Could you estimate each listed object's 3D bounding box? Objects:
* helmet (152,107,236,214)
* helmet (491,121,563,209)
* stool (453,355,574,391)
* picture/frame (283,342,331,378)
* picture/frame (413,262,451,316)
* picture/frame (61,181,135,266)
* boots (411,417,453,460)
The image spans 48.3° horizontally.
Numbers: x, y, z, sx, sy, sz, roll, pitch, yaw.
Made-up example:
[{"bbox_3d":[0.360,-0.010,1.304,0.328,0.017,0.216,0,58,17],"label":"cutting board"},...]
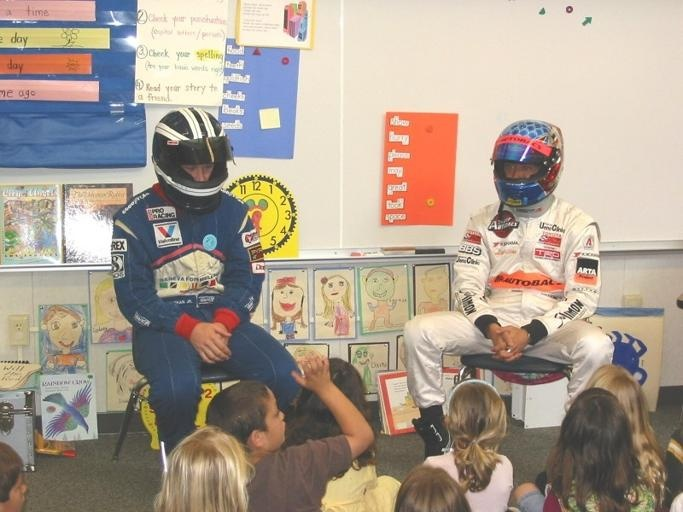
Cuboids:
[{"bbox_3d":[-0.699,-0.459,3.488,0.340,0.363,0.441,-12,48,-30],"label":"helmet"},{"bbox_3d":[0.939,-0.459,3.749,0.328,0.388,0.420,3,9,40],"label":"helmet"},{"bbox_3d":[0.825,0.540,3.639,0.275,0.108,0.279,-3,9,-16],"label":"stool"},{"bbox_3d":[-0.172,0.481,3.547,0.210,0.150,0.014,0,-2,-12],"label":"picture/frame"},{"bbox_3d":[0.514,0.180,4.395,0.299,0.444,0.022,-1,9,-10],"label":"picture/frame"},{"bbox_3d":[-1.280,-0.186,3.969,0.426,0.399,0.044,3,5,2],"label":"picture/frame"},{"bbox_3d":[0.463,0.852,3.707,0.227,0.237,0.096,-15,-6,37],"label":"boots"}]
